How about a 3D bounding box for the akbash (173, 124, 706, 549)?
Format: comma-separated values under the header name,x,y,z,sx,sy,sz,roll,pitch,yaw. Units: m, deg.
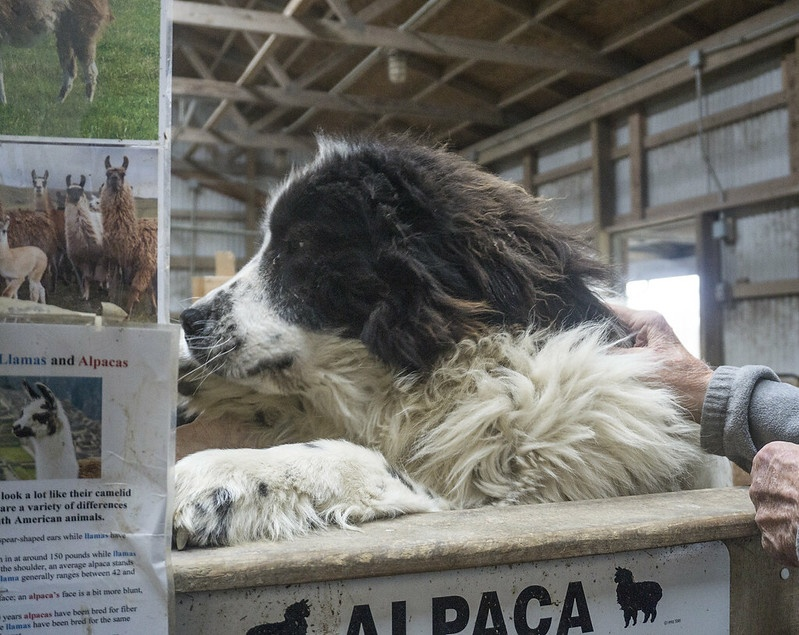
name,x,y,z,sx,sy,sz,roll,pitch,yaw
akbash,0.082,0.049,4.663,1.592,1.284,0.465,1,-3,-14
